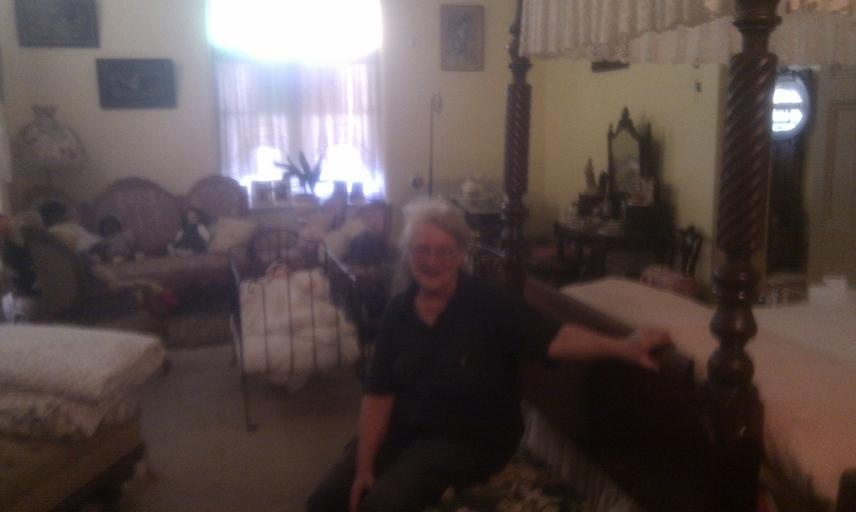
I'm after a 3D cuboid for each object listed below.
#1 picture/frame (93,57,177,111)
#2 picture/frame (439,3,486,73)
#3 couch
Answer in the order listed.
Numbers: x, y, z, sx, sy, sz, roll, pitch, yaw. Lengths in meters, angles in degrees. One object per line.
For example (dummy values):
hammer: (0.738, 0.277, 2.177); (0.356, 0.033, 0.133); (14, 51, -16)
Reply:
picture/frame: (-0.755, -0.452, 1.703); (0.151, 0.101, 0.021); (0, 6, 6)
picture/frame: (0.093, -0.559, 1.676); (0.143, 0.174, 0.059); (-10, 14, -35)
couch: (-0.714, -0.071, 1.784); (0.601, 0.376, 0.281); (-2, 43, -13)
